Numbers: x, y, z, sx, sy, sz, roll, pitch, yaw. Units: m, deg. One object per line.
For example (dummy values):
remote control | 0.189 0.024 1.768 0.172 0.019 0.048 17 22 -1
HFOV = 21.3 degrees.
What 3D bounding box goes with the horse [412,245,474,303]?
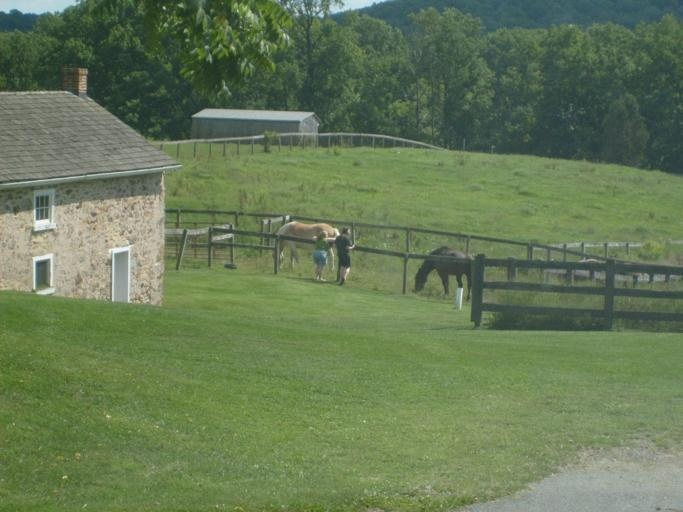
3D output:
horse | 8.265 1.422 145.039 5.791 4.231 1.566 3 6 33
